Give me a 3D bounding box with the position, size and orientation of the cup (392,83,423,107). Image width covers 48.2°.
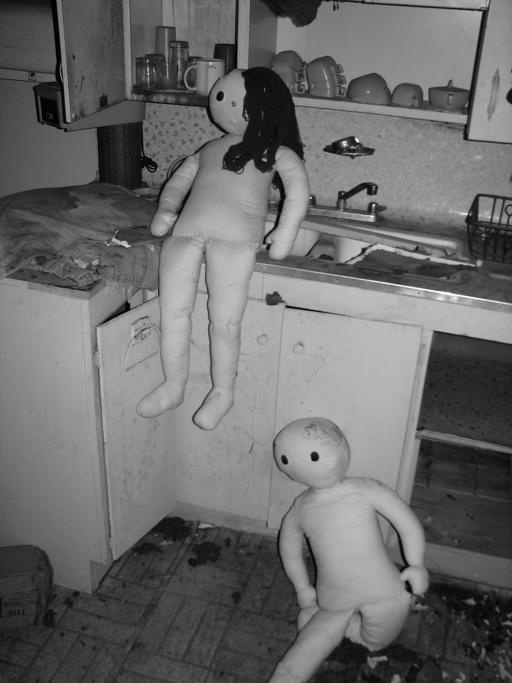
[{"bbox_3d":[0.459,-0.745,1.750,0.093,0.061,0.094,-1,33,1],"label":"cup"}]

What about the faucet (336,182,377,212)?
[{"bbox_3d":[0.363,-0.535,2.077,0.148,0.101,0.162,7,22,10],"label":"faucet"}]

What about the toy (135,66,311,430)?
[{"bbox_3d":[-0.078,-0.236,1.503,0.415,0.902,0.385,2,20,-2],"label":"toy"}]
